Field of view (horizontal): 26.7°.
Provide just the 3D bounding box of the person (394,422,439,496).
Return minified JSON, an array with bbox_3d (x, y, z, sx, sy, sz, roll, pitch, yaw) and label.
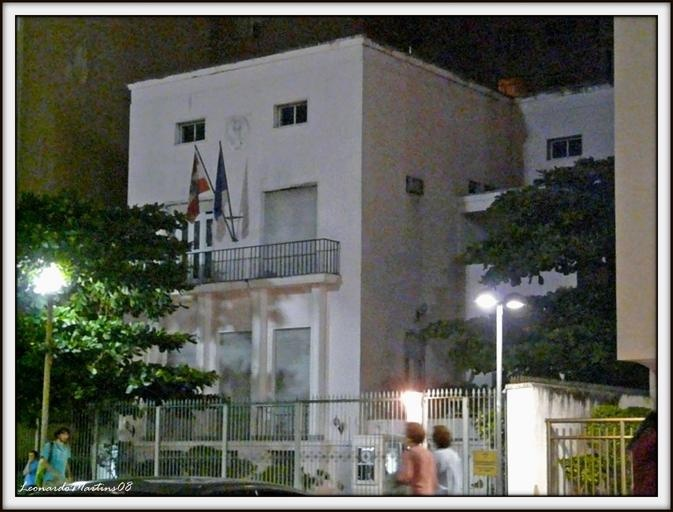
[{"bbox_3d":[1.500,3.733,26.708,0.713,1.353,0.596,-1,-11,3],"label":"person"}]
